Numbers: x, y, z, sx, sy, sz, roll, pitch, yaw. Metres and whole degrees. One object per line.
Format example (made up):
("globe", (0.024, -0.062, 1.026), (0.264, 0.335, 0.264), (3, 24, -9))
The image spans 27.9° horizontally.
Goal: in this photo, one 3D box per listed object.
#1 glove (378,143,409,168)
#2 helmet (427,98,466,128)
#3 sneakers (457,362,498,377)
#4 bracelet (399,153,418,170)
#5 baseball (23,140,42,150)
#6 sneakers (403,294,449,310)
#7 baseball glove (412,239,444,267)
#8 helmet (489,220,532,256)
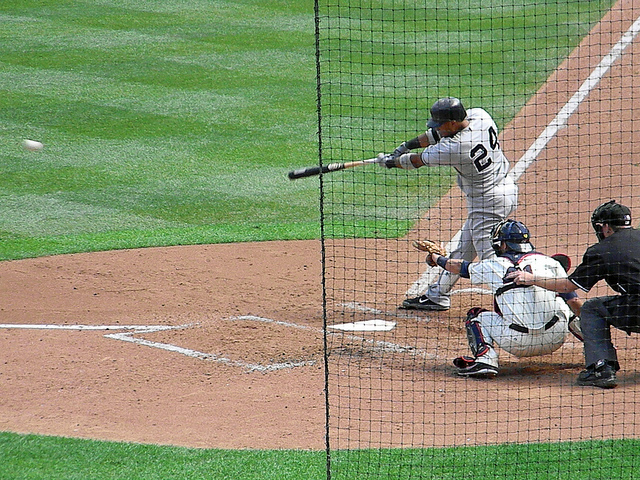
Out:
("glove", (0.978, -1.153, 17.644), (0.177, 0.490, 0.263), (55, 4, -18))
("helmet", (1.661, -1.693, 17.094), (0.505, 0.410, 0.334), (3, 3, 9))
("sneakers", (1.915, 1.595, 16.068), (0.513, 0.181, 0.215), (1, 9, 20))
("bracelet", (1.190, -1.084, 17.482), (0.225, 0.163, 0.222), (0, 24, -2))
("baseball", (-5.013, -1.622, 22.350), (0.236, 0.057, 0.226), (11, -2, -45))
("sneakers", (1.418, 0.868, 17.894), (0.694, 0.177, 0.216), (2, 7, 4))
("baseball glove", (1.382, 0.157, 16.508), (0.497, 0.149, 0.267), (19, -3, 17))
("helmet", (2.401, -0.060, 16.337), (0.491, 0.374, 0.543), (-4, 16, -28))
